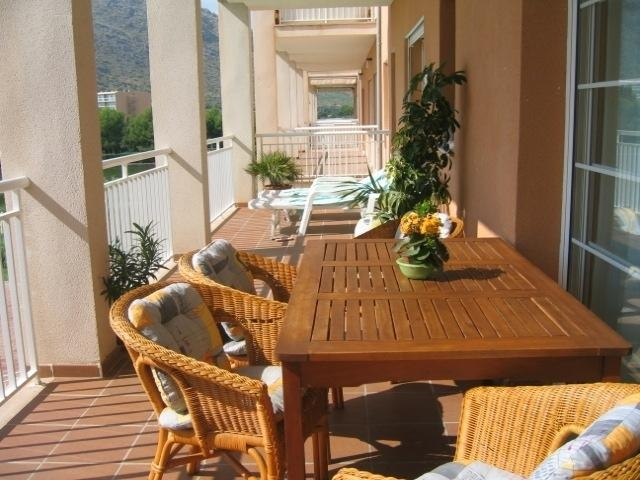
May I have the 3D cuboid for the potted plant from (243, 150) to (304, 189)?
[{"bbox_3d":[-0.880,-1.226,8.008,0.923,0.538,0.859,-9,18,-39],"label":"potted plant"}]

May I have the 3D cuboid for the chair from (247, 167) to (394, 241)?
[{"bbox_3d":[0.037,-0.512,6.604,2.006,0.702,0.991,0,22,4],"label":"chair"}]

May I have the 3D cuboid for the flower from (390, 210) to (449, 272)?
[{"bbox_3d":[0.513,0.025,2.316,0.248,0.350,0.194,-2,18,7],"label":"flower"}]

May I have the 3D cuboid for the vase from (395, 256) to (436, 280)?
[{"bbox_3d":[0.501,0.143,2.352,0.145,0.051,0.131,0,11,-1],"label":"vase"}]
